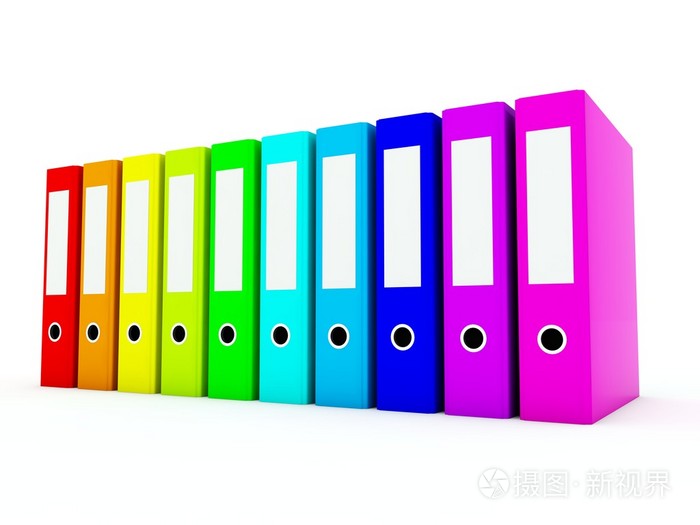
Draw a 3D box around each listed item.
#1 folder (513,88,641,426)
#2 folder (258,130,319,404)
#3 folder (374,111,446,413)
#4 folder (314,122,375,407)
[{"bbox_3d":[0.628,0.011,2.168,0.285,1.056,0.909,-3,-4,24],"label":"folder"},{"bbox_3d":[-0.212,0.018,2.425,0.200,0.857,0.180,-4,-12,4],"label":"folder"},{"bbox_3d":[0.168,0.006,2.288,0.225,0.889,0.189,-4,-12,6],"label":"folder"},{"bbox_3d":[-0.027,0.012,2.361,0.209,0.874,0.182,-4,-12,5],"label":"folder"}]
